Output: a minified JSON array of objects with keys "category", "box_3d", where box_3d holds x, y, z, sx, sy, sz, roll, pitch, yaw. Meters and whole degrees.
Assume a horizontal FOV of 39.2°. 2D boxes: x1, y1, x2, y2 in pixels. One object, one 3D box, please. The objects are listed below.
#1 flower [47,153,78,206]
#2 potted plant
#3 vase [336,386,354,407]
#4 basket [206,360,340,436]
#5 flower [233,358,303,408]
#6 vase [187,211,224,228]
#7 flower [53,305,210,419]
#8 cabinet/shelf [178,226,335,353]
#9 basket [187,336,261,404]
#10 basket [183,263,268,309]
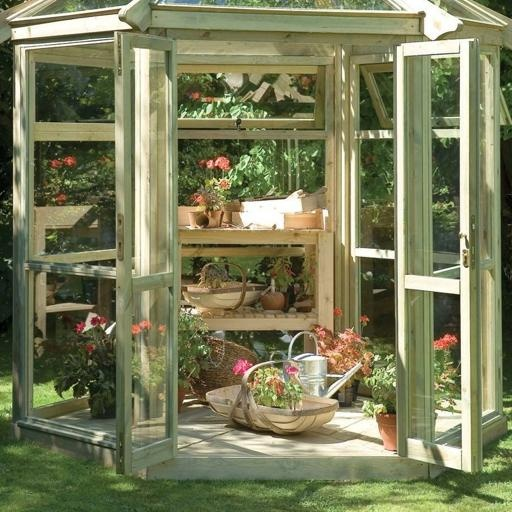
[{"category":"flower","box_3d":[-1.178,-0.461,4.327,0.202,0.277,0.122,4,3,3]},{"category":"potted plant","box_3d":[0.761,0.901,4.409,0.210,0.508,0.421,3,7,9]},{"category":"vase","box_3d":[0.630,1.020,5.299,0.183,0.162,0.154,0,5,3]},{"category":"basket","box_3d":[0.051,0.917,4.650,0.830,0.350,0.451,-3,-5,44]},{"category":"flower","box_3d":[0.108,0.802,4.651,0.375,0.274,0.549,2,7,3]},{"category":"vase","box_3d":[-0.398,-0.291,5.720,0.170,0.072,0.191,1,-3,-26]},{"category":"flower","box_3d":[-0.796,0.625,4.338,0.812,0.475,0.687,1,-2,-20]},{"category":"cabinet/shelf","box_3d":[-0.123,0.164,5.794,1.129,0.621,0.568,2,17,-17]},{"category":"basket","box_3d":[-0.257,0.864,5.486,0.522,0.349,0.506,16,-12,9]},{"category":"basket","box_3d":[-0.244,0.254,5.895,0.554,0.283,0.388,2,-4,-36]}]
